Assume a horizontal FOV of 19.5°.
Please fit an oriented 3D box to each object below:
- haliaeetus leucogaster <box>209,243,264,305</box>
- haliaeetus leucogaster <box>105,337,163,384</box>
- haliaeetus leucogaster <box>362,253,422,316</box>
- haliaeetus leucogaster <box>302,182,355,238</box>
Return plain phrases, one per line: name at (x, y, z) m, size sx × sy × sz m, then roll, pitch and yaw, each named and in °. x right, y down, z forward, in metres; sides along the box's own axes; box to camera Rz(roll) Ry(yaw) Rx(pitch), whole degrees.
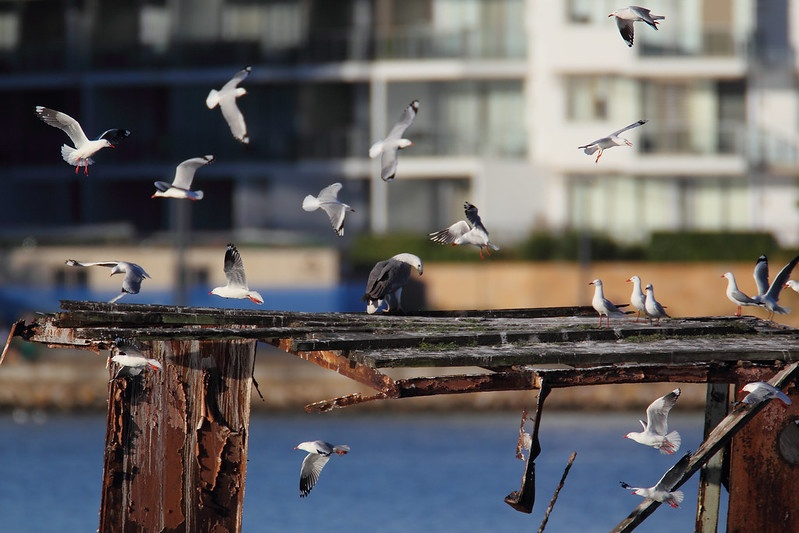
haliaeetus leucogaster at (-4.118, 0.506, 59.050) m, size 1.368 × 0.979 × 1.974 m, roll -2°, pitch 32°, yaw 0°
haliaeetus leucogaster at (-6.621, 2.401, 57.970) m, size 0.940 × 0.482 × 1.431 m, roll -17°, pitch -17°, yaw -3°
haliaeetus leucogaster at (-0.152, 0.562, 60.824) m, size 1.461 × 1.470 × 0.614 m, roll -1°, pitch 3°, yaw -25°
haliaeetus leucogaster at (-1.873, -1.111, 61.177) m, size 1.214 × 1.688 × 0.501 m, roll 2°, pitch -29°, yaw -16°
